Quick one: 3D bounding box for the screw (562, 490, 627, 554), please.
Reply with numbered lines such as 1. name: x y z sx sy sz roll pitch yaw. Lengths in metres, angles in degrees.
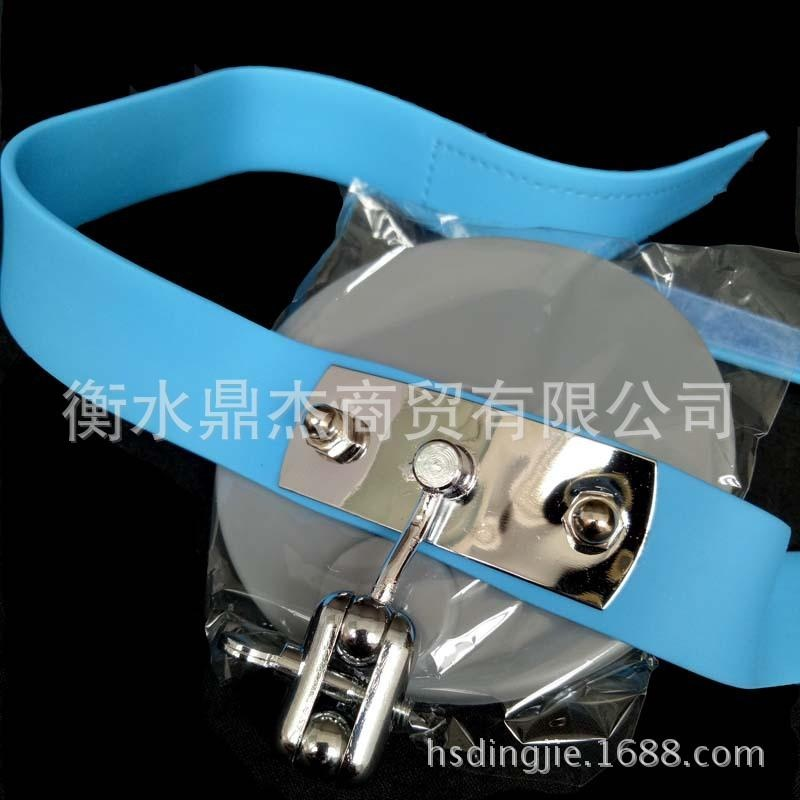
1. screw: 0.199 0.124 0.837 0.067 0.036 0.066 2 85 2
